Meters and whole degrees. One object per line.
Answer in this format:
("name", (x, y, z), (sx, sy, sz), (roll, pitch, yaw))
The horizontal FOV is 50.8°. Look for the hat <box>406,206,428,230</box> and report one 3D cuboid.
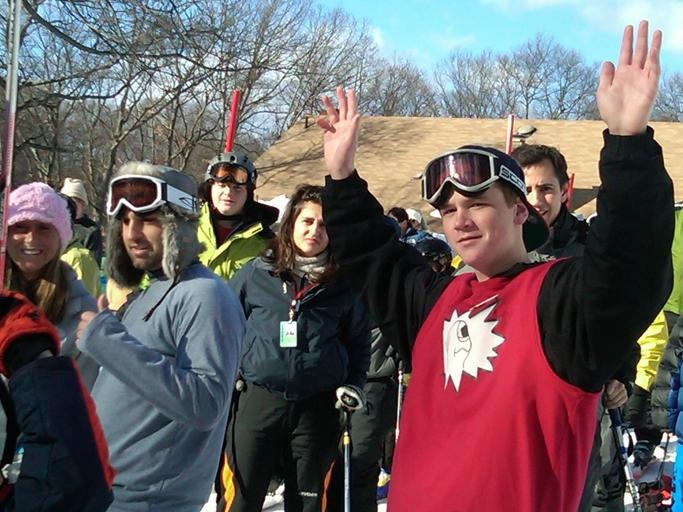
("hat", (1.090, -0.559, 10.462), (0.263, 0.369, 0.370), (-2, -29, 9))
